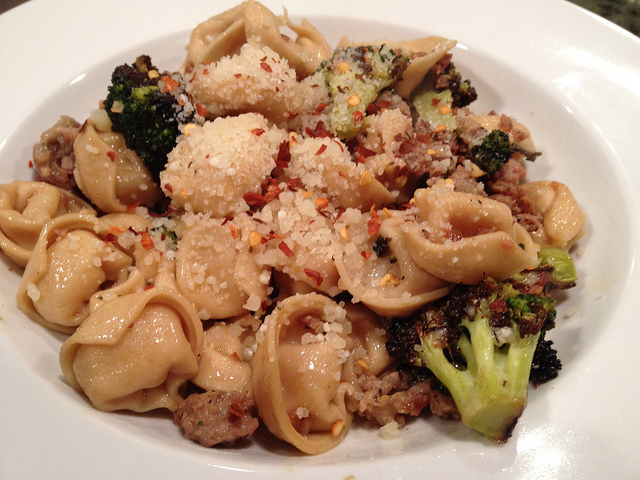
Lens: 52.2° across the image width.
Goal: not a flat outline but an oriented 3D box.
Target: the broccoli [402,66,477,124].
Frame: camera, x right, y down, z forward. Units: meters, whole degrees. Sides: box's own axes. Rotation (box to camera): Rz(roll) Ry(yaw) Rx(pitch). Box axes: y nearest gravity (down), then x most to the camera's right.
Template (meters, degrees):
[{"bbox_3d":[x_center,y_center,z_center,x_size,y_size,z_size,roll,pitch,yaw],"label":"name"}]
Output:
[{"bbox_3d":[0.721,-0.864,3.839,0.328,0.100,0.374,-17,65,-7],"label":"broccoli"}]

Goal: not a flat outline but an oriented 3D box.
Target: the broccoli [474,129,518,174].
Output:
[{"bbox_3d":[0.922,-0.478,3.480,0.169,0.073,0.231,38,99,14],"label":"broccoli"}]

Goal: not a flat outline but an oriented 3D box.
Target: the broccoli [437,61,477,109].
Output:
[{"bbox_3d":[0.796,-0.897,3.826,0.216,0.255,0.117,-12,29,-16],"label":"broccoli"}]
